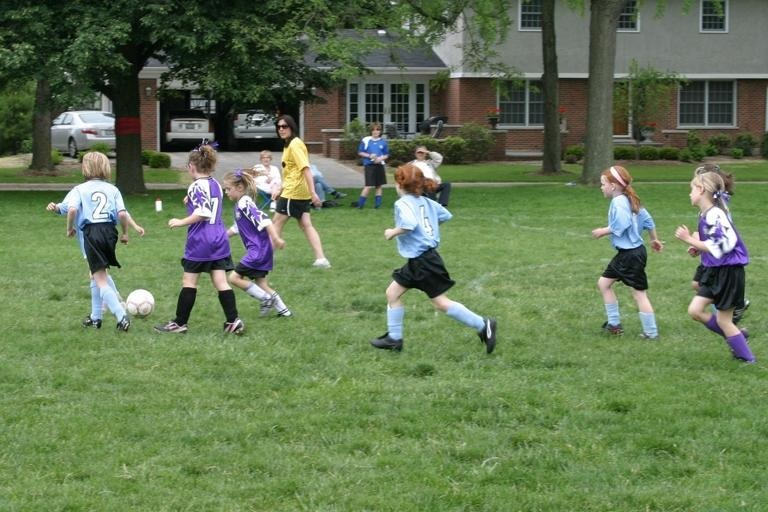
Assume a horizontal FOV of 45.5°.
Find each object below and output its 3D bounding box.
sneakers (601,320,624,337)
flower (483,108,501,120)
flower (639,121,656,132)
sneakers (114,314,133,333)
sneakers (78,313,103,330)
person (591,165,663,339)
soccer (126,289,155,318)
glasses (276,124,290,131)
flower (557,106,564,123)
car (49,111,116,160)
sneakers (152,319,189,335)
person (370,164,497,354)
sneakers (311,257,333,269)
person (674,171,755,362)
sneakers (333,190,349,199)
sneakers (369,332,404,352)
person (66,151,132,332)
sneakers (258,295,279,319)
[{"bbox_3d":[2.496,0.814,10.105,0.263,0.101,0.100,8,2,19],"label":"sneakers"},{"bbox_3d":[4.063,-5.350,34.284,0.540,0.278,0.430,1,5,-18],"label":"flower"},{"bbox_3d":[9.747,-4.815,33.821,0.579,0.315,0.496,0,10,-22],"label":"flower"},{"bbox_3d":[-2.791,0.737,9.944,0.098,0.093,0.223,2,-19,-27],"label":"sneakers"},{"bbox_3d":[-3.202,0.743,10.095,0.277,0.105,0.095,10,16,28],"label":"sneakers"},{"bbox_3d":[2.655,-0.042,9.987,0.666,1.855,0.583,3,9,24],"label":"person"},{"bbox_3d":[-2.733,0.541,10.461,0.347,0.282,0.301,4,29,-16],"label":"soccer"},{"bbox_3d":[-1.298,-1.679,11.929,0.159,0.059,0.132,-1,7,-2],"label":"glasses"},{"bbox_3d":[6.865,-5.495,35.399,0.230,0.616,0.343,1,8,10],"label":"flower"},{"bbox_3d":[-9.841,-4.345,31.946,2.121,1.342,4.756,-6,11,-40],"label":"car"},{"bbox_3d":[-2.300,0.774,9.951,0.374,0.132,0.121,4,-7,-4],"label":"sneakers"},{"bbox_3d":[0.444,0.041,9.447,1.121,1.939,0.415,-2,8,-11],"label":"person"},{"bbox_3d":[-0.854,0.107,12.850,0.126,0.102,0.272,-7,7,-28],"label":"sneakers"},{"bbox_3d":[3.353,0.111,9.240,0.750,1.927,0.680,2,8,19],"label":"person"},{"bbox_3d":[-0.947,-1.327,20.044,0.167,0.187,0.498,18,13,37],"label":"sneakers"},{"bbox_3d":[0.054,0.919,9.729,0.411,0.177,0.146,6,-3,4],"label":"sneakers"},{"bbox_3d":[-3.062,-0.151,9.931,0.618,1.942,0.352,-3,8,-16],"label":"person"},{"bbox_3d":[-1.345,0.588,10.576,0.117,0.323,0.148,38,10,-38],"label":"sneakers"}]
